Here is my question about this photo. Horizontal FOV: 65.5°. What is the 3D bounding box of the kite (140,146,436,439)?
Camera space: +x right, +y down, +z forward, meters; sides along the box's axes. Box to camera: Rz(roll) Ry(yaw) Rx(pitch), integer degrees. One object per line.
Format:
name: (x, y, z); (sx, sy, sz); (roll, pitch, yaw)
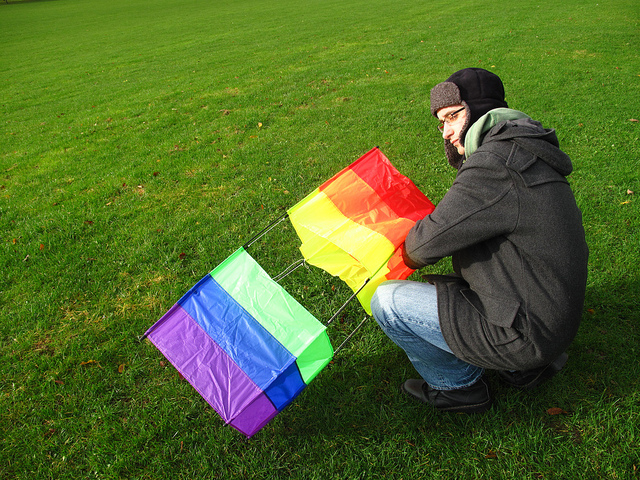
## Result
kite: (-0.054, 0.511, 6.201); (2.214, 0.834, 4.097); (44, 76, 8)

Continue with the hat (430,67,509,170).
hat: (1.641, -1.329, 5.315); (0.674, 0.837, 0.566); (-7, -5, 11)
